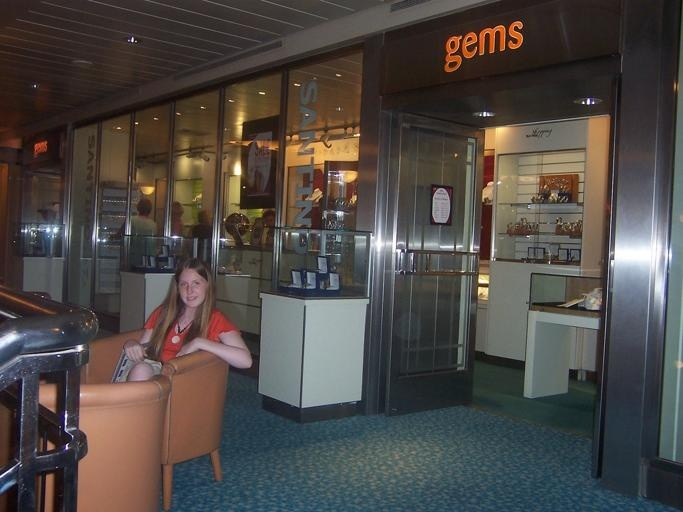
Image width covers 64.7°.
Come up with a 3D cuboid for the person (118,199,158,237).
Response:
[{"bbox_3d":[-2.856,-0.580,7.795,0.150,0.455,0.765,2,1,-39],"label":"person"}]

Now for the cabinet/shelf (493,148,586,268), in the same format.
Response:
[{"bbox_3d":[2.570,-0.660,7.123,1.090,1.552,0.450,2,1,16],"label":"cabinet/shelf"}]

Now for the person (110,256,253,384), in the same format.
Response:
[{"bbox_3d":[-0.980,0.517,3.254,0.790,0.978,0.492,7,9,-10],"label":"person"}]
